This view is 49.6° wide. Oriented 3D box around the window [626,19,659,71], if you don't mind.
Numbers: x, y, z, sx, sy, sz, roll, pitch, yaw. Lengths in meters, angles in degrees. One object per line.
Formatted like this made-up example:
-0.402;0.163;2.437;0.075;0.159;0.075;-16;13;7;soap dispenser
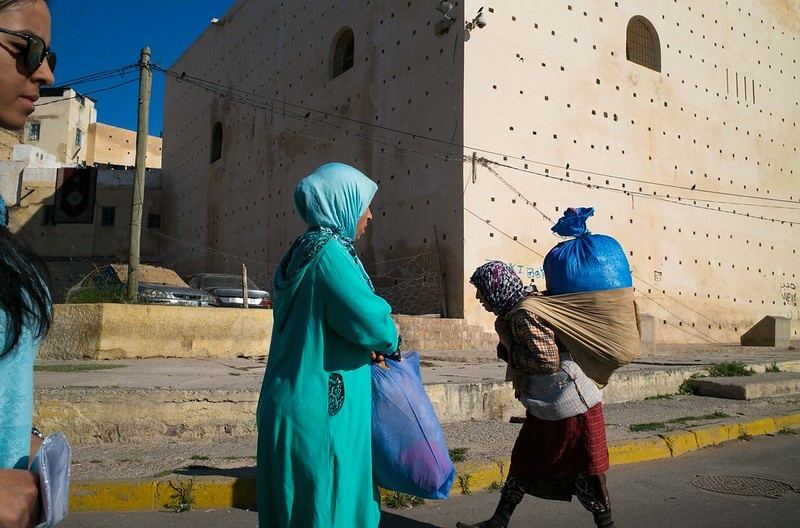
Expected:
7.546;-6.860;26.940;1.551;1.915;0.071;7;-10;-40;window

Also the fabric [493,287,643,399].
2.628;1.150;12.812;1.597;1.281;1.328;-2;-4;23;fabric

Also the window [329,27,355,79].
-1.794;-6.783;27.656;0.089;2.137;1.690;0;2;-31;window

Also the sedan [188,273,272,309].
-4.429;0.680;22.147;0.930;0.800;2.207;0;4;-29;sedan

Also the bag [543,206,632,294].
2.726;-0.129;13.309;1.198;1.467;1.245;-7;-12;-10;bag

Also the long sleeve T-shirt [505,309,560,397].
1.980;1.276;12.611;0.653;1.358;0.938;-15;11;-28;long sleeve T-shirt

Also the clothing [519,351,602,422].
2.356;1.945;12.660;1.059;1.180;0.783;-20;3;18;clothing
